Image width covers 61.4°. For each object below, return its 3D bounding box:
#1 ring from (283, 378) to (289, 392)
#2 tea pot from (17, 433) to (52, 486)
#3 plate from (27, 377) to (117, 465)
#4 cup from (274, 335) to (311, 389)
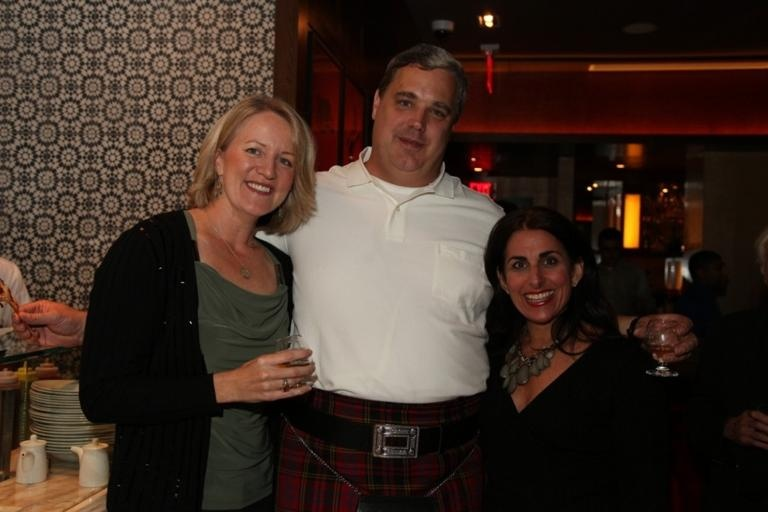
[{"bbox_3d":[-0.361,0.480,2.401,0.026,0.038,0.042,2,3,-1],"label":"ring"},{"bbox_3d":[-1.423,0.819,2.615,0.120,0.170,0.122,1,4,0],"label":"tea pot"},{"bbox_3d":[-1.318,0.698,2.814,0.339,0.240,0.342,-1,-8,28],"label":"plate"},{"bbox_3d":[-0.342,0.403,2.455,0.116,0.183,0.120,1,4,0],"label":"cup"}]
